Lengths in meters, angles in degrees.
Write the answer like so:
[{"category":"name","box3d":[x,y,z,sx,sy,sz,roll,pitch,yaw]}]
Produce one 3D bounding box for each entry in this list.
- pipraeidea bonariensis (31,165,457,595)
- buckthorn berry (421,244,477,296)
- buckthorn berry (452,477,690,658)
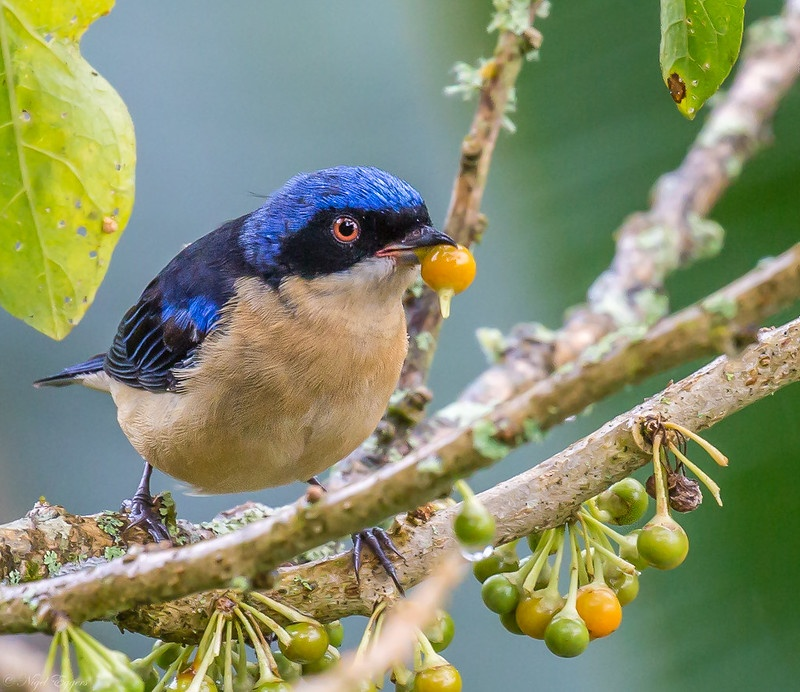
[{"category":"pipraeidea bonariensis","box3d":[-0.936,-0.058,5.437,1.219,2.037,2.536,7,-5,18]},{"category":"buckthorn berry","box3d":[0.183,-0.306,4.016,0.234,0.206,0.254,1,-8,5]},{"category":"buckthorn berry","box3d":[0.577,0.744,3.481,0.653,0.556,0.626,-17,1,0]}]
